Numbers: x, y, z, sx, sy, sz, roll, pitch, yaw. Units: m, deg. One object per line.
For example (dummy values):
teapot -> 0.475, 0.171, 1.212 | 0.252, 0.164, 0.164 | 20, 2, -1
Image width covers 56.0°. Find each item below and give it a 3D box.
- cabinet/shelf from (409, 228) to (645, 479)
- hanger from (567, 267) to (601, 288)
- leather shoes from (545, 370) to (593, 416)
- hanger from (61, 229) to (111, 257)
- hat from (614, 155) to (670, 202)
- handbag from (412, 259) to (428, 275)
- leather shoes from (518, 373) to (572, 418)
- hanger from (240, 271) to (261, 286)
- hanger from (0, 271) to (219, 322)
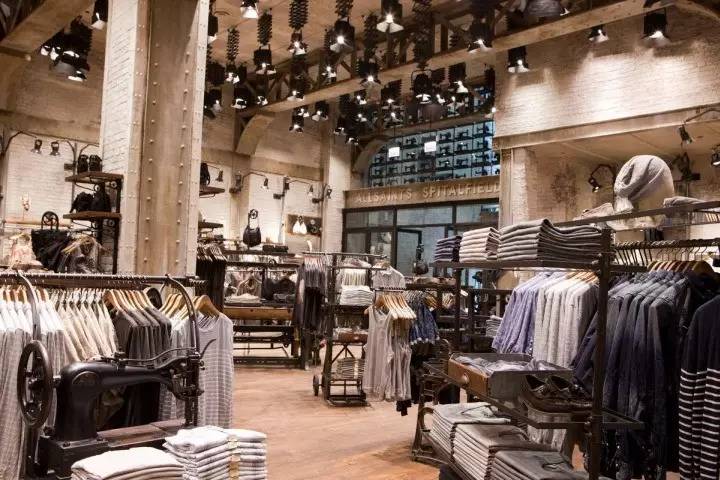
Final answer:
cabinet/shelf -> 1.310, 0.771, 5.021 | 1.328, 1.765, 0.729 | 4, 3, 22
hanger -> 1.808, 0.330, 5.799 | 0.069, 0.184, 0.188 | 8, -11, -37
leather shoes -> 1.538, 1.113, 4.987 | 0.229, 0.135, 0.381 | -6, 14, 15
hanger -> -3.368, 0.041, 8.447 | 0.425, 0.201, 0.375 | 1, -4, -31
hat -> 2.386, -0.565, 6.084 | 0.478, 0.407, 0.365 | -12, 14, -10
handbag -> 0.934, 0.458, 11.599 | 0.272, 0.262, 0.252 | 0, -10, 1
leather shoes -> 1.261, 1.134, 4.964 | 0.205, 0.243, 0.581 | 0, -2, -14
hanger -> -2.355, 0.815, 14.535 | 0.392, 0.372, 0.045 | 6, -32, -18
hanger -> -2.054, 0.441, 5.621 | 0.999, 0.400, 1.599 | 4, 2, 29
